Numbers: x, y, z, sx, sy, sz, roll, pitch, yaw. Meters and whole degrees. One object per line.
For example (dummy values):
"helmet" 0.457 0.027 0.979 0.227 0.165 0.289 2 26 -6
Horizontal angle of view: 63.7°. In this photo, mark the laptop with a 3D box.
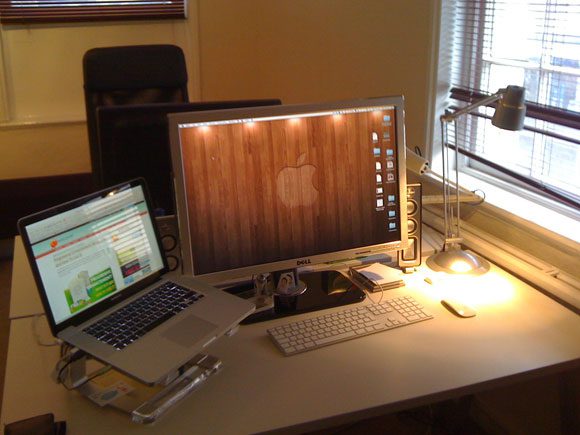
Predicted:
"laptop" -0.441 0.166 1.305 0.394 0.399 0.420 15 32 38

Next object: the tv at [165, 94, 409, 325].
"tv" -0.008 -0.014 1.541 0.755 0.527 0.075 -7 8 -18
